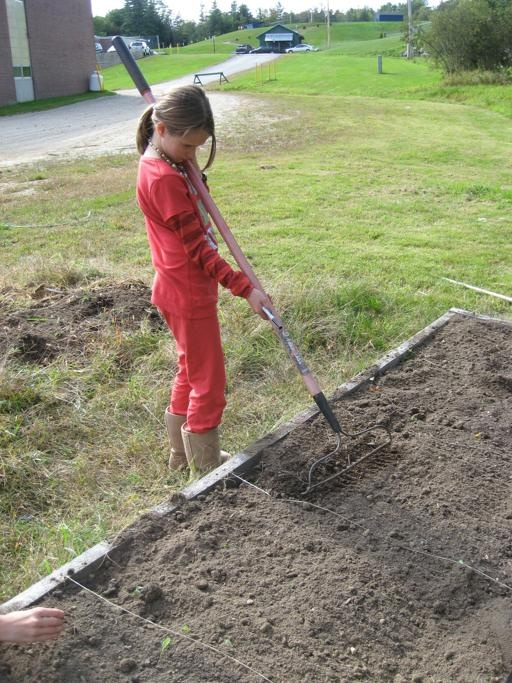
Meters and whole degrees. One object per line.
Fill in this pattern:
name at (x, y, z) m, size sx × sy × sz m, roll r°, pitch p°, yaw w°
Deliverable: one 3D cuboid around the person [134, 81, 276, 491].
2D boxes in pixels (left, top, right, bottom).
person at (-0.224, -0.162, 2.527) m, size 0.407 × 1.626 × 0.549 m, roll -12°, pitch 14°, yaw -24°
